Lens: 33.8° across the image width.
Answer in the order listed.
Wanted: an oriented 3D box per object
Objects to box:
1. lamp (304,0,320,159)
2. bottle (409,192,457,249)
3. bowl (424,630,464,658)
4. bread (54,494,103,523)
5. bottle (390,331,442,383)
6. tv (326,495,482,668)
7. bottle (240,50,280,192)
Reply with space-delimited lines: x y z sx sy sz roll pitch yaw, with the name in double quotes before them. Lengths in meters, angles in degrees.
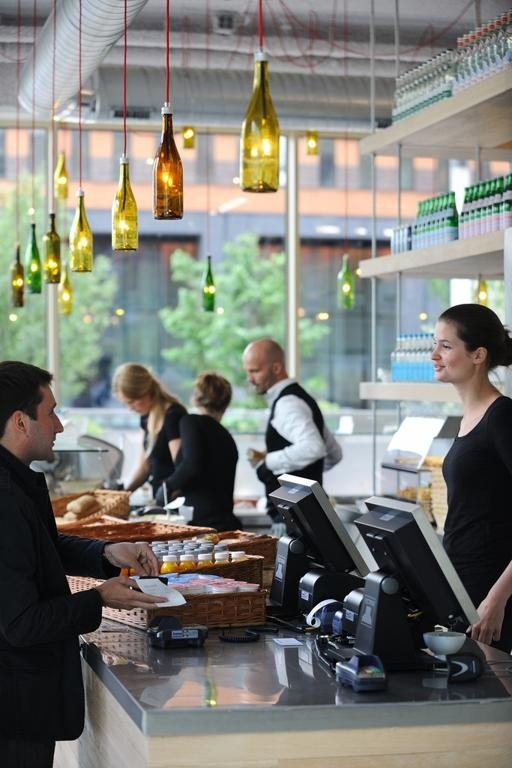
"lamp" 0.376 -1.836 5.583 0.072 0.599 0.204 -1 0 4
"bottle" 0.793 -0.703 3.684 0.115 0.214 0.405 -1 0 -5
"bowl" 0.364 0.488 1.607 0.061 0.033 0.058 2 -10 0
"bread" -0.769 0.539 3.649 0.194 0.067 0.106 -30 48 -35
"bottle" 0.703 -0.114 3.669 0.066 0.231 0.263 5 -5 -20
"tv" 0.309 0.326 1.687 0.232 0.352 0.369 -12 2 -20
"bottle" 0.008 -0.692 2.276 0.103 0.342 0.229 -1 0 0
